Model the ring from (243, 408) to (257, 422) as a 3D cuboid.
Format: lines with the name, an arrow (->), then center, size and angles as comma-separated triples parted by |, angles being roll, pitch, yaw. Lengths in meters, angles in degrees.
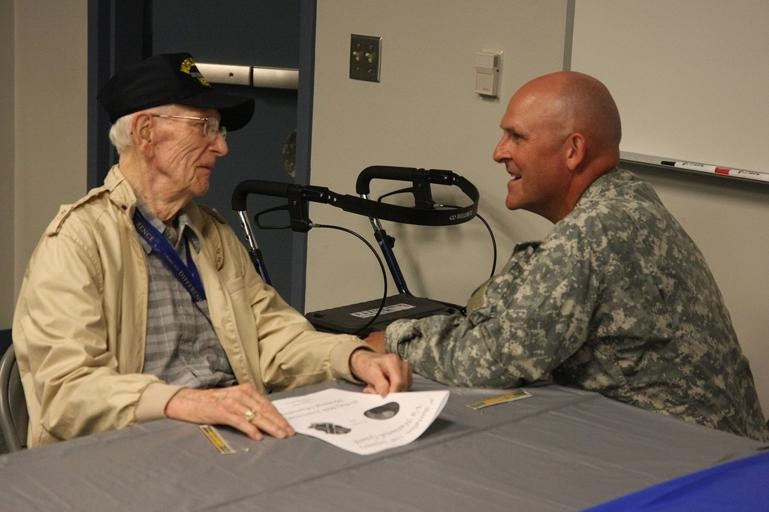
ring -> -0.342, 0.405, 2.004 | 0.025, 0.023, 0.007 | 2, -37, 9

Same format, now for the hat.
hat -> -0.667, -0.540, 2.567 | 0.443, 0.214, 0.272 | -9, 10, -8

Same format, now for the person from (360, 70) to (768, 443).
person -> 0.565, 0.021, 3.118 | 1.446, 1.788, 0.830 | -1, -1, 15
